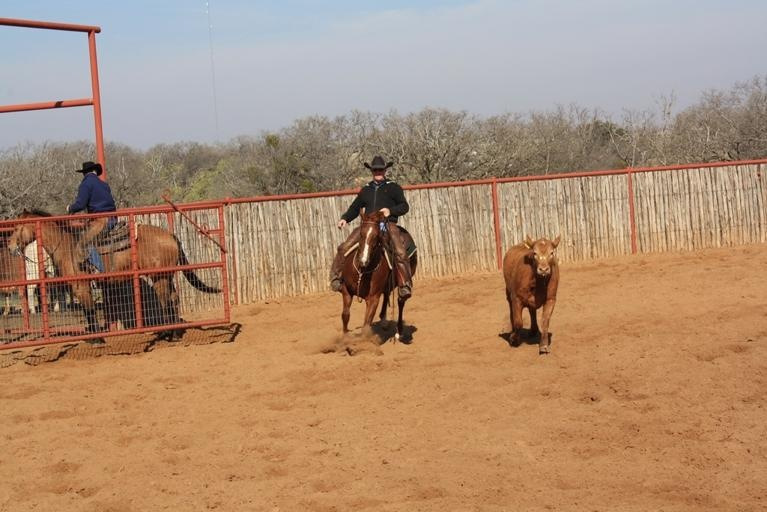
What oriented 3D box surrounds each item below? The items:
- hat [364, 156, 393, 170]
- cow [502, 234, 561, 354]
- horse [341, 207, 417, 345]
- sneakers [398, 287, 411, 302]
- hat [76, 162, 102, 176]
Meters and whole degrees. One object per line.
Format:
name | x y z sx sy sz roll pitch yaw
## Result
hat | -0.074 -1.855 13.781 0.458 0.302 1.071 -2 11 3
cow | 2.729 0.627 12.693 0.971 2.154 1.885 -1 11 10
horse | -0.099 0.432 13.331 1.021 2.675 1.787 7 15 41
sneakers | 0.412 0.747 13.416 0.236 0.297 0.293 1 4 -4
hat | -6.071 -1.877 14.164 0.421 0.178 0.452 -5 -17 -46
